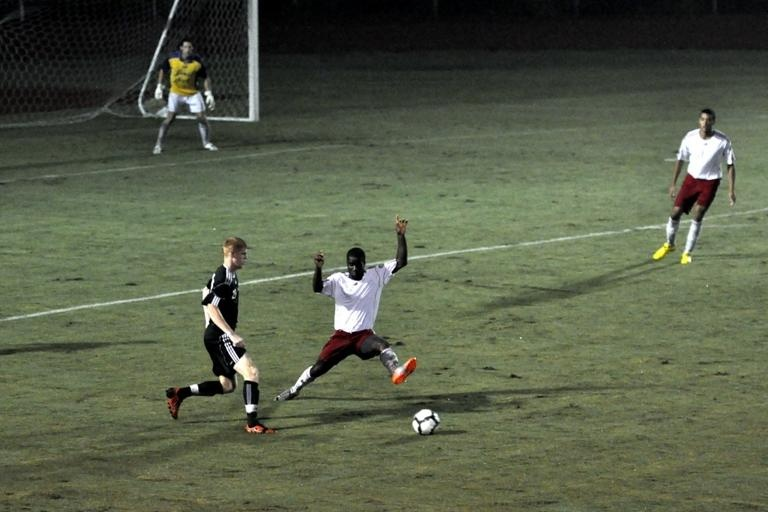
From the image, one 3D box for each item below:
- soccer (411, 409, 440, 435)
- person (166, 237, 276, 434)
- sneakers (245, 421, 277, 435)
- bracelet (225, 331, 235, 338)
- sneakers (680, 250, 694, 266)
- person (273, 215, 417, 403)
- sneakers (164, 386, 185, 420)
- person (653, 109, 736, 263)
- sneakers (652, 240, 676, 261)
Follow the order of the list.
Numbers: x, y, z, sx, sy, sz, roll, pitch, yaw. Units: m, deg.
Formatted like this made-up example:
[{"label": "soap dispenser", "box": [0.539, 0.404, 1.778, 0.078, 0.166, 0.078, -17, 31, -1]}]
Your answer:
[{"label": "soccer", "box": [0.475, 1.855, 13.810, 0.303, 0.278, 0.282, 1, 12, 1]}, {"label": "person", "box": [-1.858, 0.881, 13.983, 1.209, 2.132, 0.939, 1, 13, 1]}, {"label": "sneakers", "box": [-1.380, 1.944, 13.825, 0.391, 0.111, 0.114, 0, 5, 6]}, {"label": "bracelet", "box": [-1.707, 0.880, 13.759, 0.071, 0.068, 0.164, -10, 14, -41]}, {"label": "sneakers", "box": [4.527, 0.059, 18.614, 0.190, 0.086, 0.210, 4, -22, 12]}, {"label": "person", "box": [-0.442, 0.652, 14.345, 1.452, 2.105, 0.943, -1, 13, -4]}, {"label": "sneakers", "box": [-2.333, 1.671, 13.933, 0.194, 0.351, 0.199, -1, -2, -2]}, {"label": "person", "box": [4.762, -1.091, 18.866, 1.131, 2.302, 1.372, 3, 13, 12]}, {"label": "sneakers", "box": [4.217, -0.062, 18.719, 0.477, 0.134, 0.192, -31, -27, 26]}]
